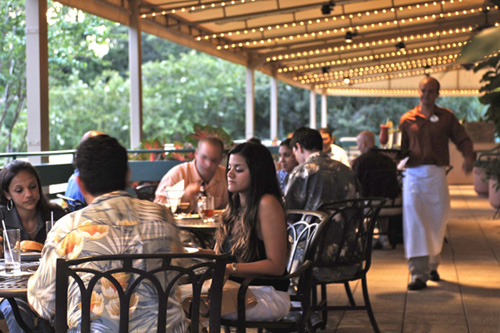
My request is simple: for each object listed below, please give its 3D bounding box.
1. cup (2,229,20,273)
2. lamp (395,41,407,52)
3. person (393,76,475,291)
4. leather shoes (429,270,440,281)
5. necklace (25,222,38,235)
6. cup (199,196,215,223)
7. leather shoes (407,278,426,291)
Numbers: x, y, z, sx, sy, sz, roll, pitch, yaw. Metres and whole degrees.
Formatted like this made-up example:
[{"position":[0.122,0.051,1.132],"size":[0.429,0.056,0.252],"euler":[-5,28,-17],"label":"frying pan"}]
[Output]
[{"position":[-2.235,0.797,6.515],"size":[0.140,0.393,0.224],"euler":[-2,3,-21],"label":"cup"},{"position":[4.123,-3.292,18.900],"size":[0.261,0.284,0.258],"euler":[12,46,23],"label":"lamp"},{"position":[2.287,0.237,8.577],"size":[0.889,2.580,0.730],"euler":[0,3,20],"label":"person"},{"position":[2.367,1.397,8.852],"size":[0.138,0.141,0.143],"euler":[0,-6,-2],"label":"leather shoes"},{"position":[-2.306,0.666,7.355],"size":[0.100,0.134,0.111],"euler":[5,21,-37],"label":"necklace"},{"position":[-0.492,0.495,7.945],"size":[0.237,0.374,0.233],"euler":[0,-17,0],"label":"cup"},{"position":[2.078,1.465,8.613],"size":[0.258,0.111,0.110],"euler":[12,-16,-37],"label":"leather shoes"}]
